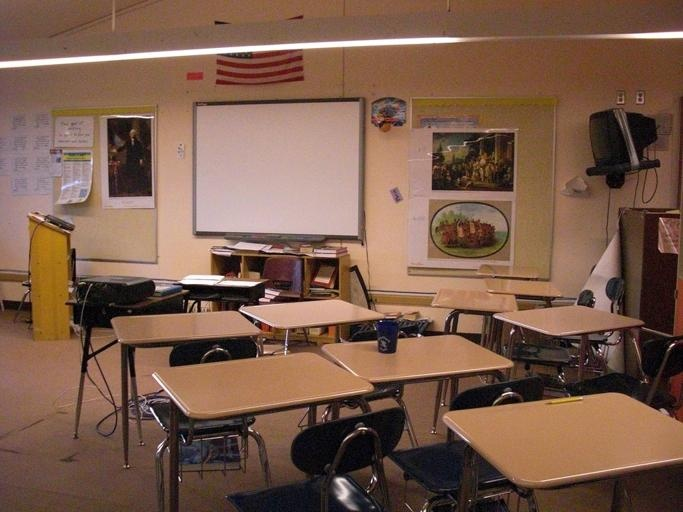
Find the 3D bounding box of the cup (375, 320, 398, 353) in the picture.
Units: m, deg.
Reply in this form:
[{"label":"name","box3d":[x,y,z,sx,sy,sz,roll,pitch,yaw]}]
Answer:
[{"label":"cup","box3d":[0.286,0.473,3.501,0.118,0.185,0.192,6,17,17]}]

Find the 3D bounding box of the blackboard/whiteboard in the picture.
[{"label":"blackboard/whiteboard","box3d":[-0.652,-1.074,6.886,1.626,1.261,0.058,1,5,12]}]

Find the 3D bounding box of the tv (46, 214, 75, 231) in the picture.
[{"label":"tv","box3d":[-3.226,-0.372,6.842,0.334,0.092,0.347,23,1,11]}]

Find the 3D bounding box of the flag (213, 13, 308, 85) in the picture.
[{"label":"flag","box3d":[-0.922,-2.328,6.776,1.021,0.765,0.024,-9,45,-15]}]

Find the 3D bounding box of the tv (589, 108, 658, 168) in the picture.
[{"label":"tv","box3d":[2.957,-1.249,6.135,0.517,0.533,0.514,-10,7,-8]}]
